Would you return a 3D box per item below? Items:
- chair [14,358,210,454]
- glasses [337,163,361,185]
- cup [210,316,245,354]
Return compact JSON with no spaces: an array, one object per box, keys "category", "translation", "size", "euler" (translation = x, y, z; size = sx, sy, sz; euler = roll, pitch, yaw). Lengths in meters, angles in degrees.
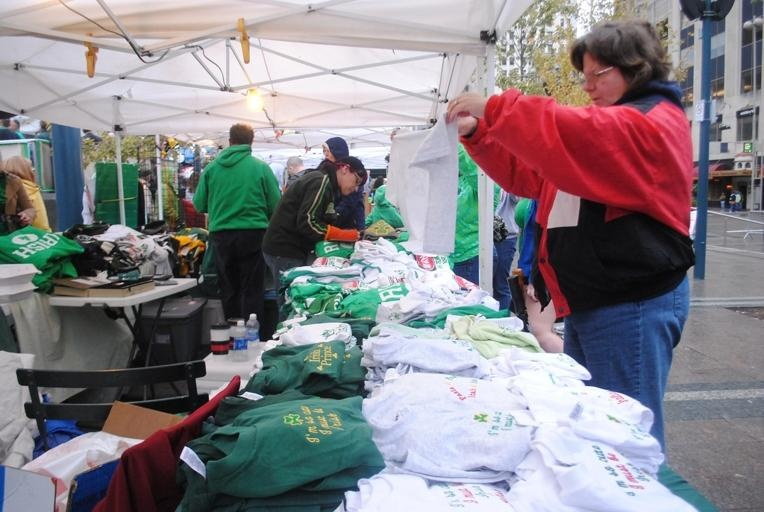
[{"category":"chair","translation":[-1.400,0.673,3.117],"size":[0.608,0.688,0.476],"euler":[-1,4,-5]},{"category":"glasses","translation":[-0.348,-0.806,5.982],"size":[0.219,0.205,0.184],"euler":[-11,33,-19]},{"category":"cup","translation":[-1.046,0.570,4.085],"size":[0.232,0.214,0.204],"euler":[1,7,43]}]
